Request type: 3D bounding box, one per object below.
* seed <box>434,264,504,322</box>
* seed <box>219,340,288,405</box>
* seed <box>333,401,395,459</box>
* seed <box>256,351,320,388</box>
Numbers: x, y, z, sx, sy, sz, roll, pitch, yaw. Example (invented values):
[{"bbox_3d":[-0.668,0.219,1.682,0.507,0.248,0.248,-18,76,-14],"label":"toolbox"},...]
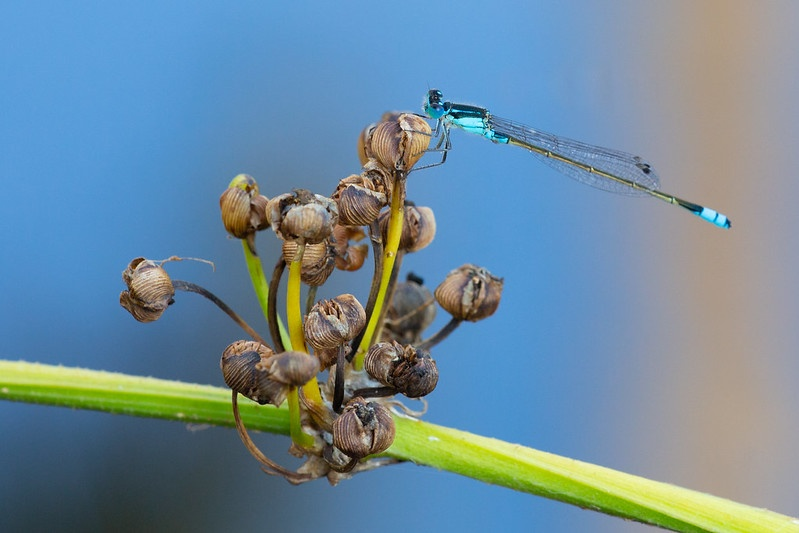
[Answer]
[{"bbox_3d":[0.150,0.058,2.014,0.151,0.119,0.059,-10,2,1],"label":"seed"},{"bbox_3d":[-0.313,0.224,1.954,0.181,0.101,0.216,24,-2,-3],"label":"seed"},{"bbox_3d":[-0.080,0.341,1.887,0.114,0.125,0.105,-11,2,-36],"label":"seed"},{"bbox_3d":[-0.222,0.208,1.850,0.123,0.074,0.087,-11,2,-5],"label":"seed"}]
